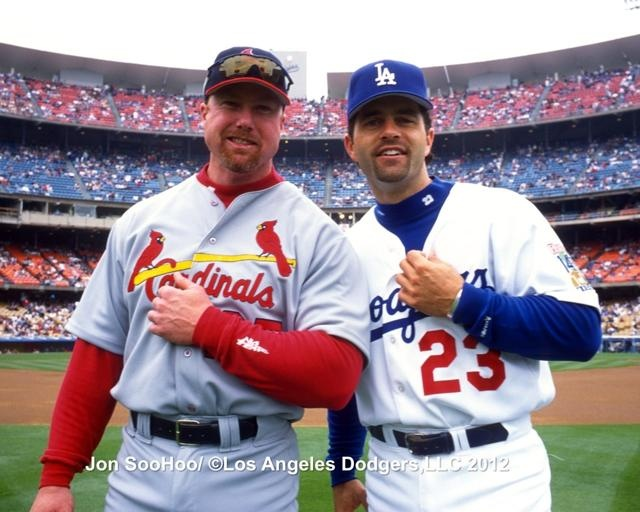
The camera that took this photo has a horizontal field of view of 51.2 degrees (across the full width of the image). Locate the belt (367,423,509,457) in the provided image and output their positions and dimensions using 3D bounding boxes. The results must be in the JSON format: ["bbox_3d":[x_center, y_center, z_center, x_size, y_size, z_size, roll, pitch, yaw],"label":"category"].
[{"bbox_3d":[0.690,1.115,4.094,0.862,0.207,0.192,-1,-4,21],"label":"belt"}]

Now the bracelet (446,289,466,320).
[{"bbox_3d":[0.833,0.289,4.017,0.071,0.154,0.162,35,14,16],"label":"bracelet"}]
